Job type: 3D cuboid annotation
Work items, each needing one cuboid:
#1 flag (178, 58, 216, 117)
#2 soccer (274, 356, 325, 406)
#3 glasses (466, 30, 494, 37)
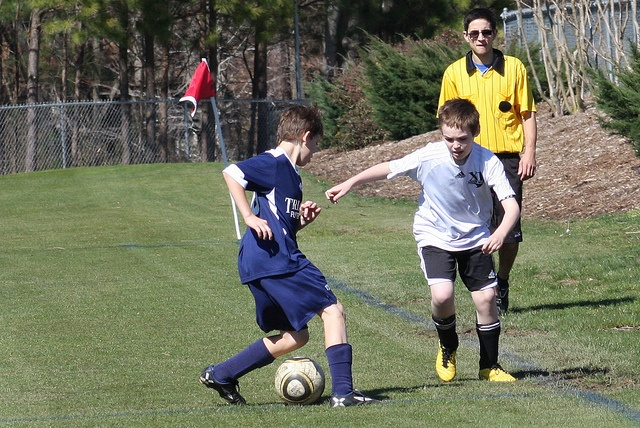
[{"bbox_3d":[-2.262,-2.373,22.110,0.860,1.176,0.455,0,-3,3],"label":"flag"},{"bbox_3d":[-0.282,2.264,16.110,0.665,0.625,0.227,-4,2,-5],"label":"soccer"},{"bbox_3d":[2.332,-2.650,17.538,0.355,0.111,0.078,-3,2,7],"label":"glasses"}]
